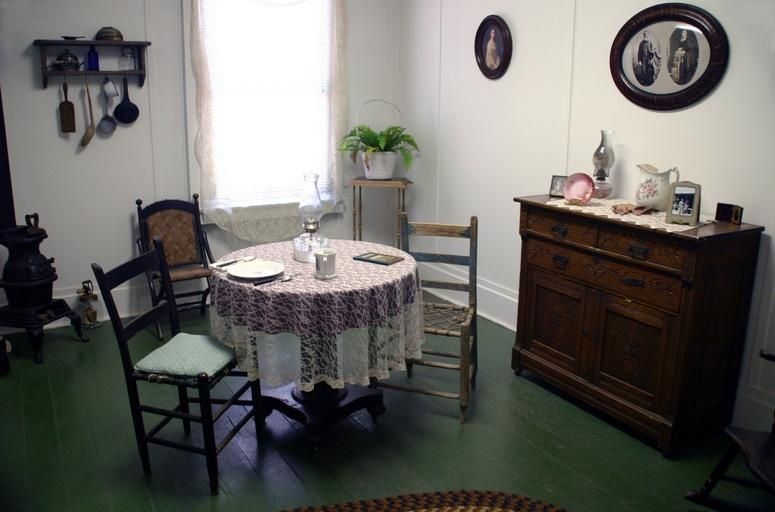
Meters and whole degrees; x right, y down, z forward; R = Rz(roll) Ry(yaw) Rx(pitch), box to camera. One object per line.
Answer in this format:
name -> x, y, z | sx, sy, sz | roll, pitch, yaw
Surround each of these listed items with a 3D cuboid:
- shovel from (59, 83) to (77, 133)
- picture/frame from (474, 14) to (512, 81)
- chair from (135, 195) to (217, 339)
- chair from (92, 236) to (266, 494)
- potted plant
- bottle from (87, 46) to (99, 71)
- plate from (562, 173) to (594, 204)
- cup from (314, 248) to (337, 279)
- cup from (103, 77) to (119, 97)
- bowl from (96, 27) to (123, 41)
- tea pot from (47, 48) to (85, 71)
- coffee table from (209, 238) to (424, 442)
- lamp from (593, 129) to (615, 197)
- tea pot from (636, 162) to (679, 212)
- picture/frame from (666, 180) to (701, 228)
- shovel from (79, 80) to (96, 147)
shovel -> -2.769, -1.277, 4.540 | 0.119, 0.407, 0.012 | -1, 9, -2
picture/frame -> 0.943, -1.861, 4.645 | 0.065, 0.605, 0.612 | -9, 10, -24
chair -> -1.870, 0.074, 4.738 | 0.725, 1.092, 0.725 | -6, 13, -22
chair -> -1.228, 0.669, 3.325 | 0.835, 1.340, 0.846 | 10, 17, 30
potted plant -> -0.071, -1.159, 5.396 | 0.805, 0.741, 0.816 | 10, 12, 43
bottle -> -2.555, -1.715, 4.549 | 0.107, 0.204, 0.112 | -2, 15, 1
plate -> 1.366, -0.458, 3.824 | 0.199, 0.235, 0.226 | -15, -11, 27
cup -> -0.382, 0.054, 3.323 | 0.161, 0.169, 0.159 | 2, 17, 0
cup -> -2.454, -1.495, 4.642 | 0.098, 0.128, 0.147 | -14, 9, -20
bowl -> -2.415, -1.910, 4.542 | 0.153, 0.090, 0.155 | 0, 6, 0
tea pot -> -2.740, -1.615, 4.488 | 0.189, 0.201, 0.290 | -6, 18, -16
coffee table -> -0.478, 0.475, 3.575 | 1.166, 0.616, 1.175 | -2, 4, -33
lamp -> 1.572, -0.668, 3.812 | 0.144, 0.483, 0.117 | -3, 15, -1
tea pot -> 1.794, -0.459, 3.534 | 0.331, 0.339, 0.244 | 12, 14, 39
picture/frame -> 1.833, -0.340, 3.282 | 0.173, 0.260, 0.133 | 7, 16, 7
shovel -> -2.664, -1.248, 4.622 | 0.160, 0.580, 0.079 | -11, 17, -29
